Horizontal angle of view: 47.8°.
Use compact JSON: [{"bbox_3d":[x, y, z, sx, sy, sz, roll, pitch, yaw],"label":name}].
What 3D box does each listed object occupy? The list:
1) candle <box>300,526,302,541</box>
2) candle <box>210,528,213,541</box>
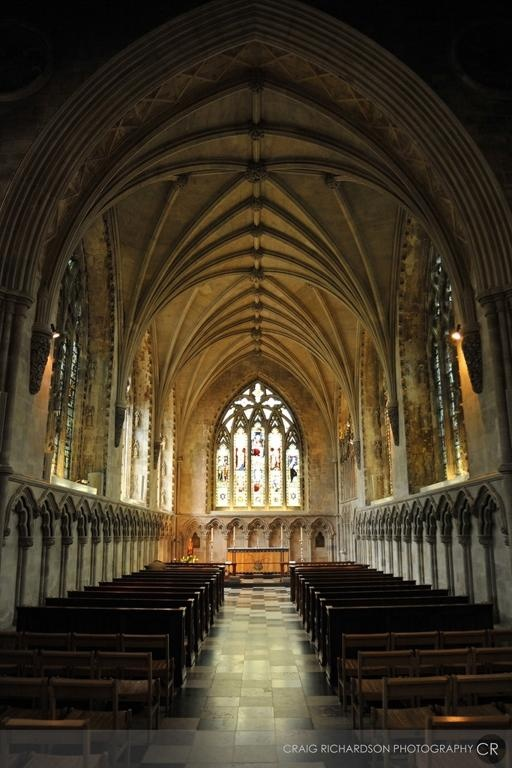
[{"bbox_3d":[2.325,7.520,28.987,0.163,0.725,0.185,-1,-15,2],"label":"candle"},{"bbox_3d":[-2.189,7.487,28.790,0.155,0.611,0.255,-12,-19,35],"label":"candle"}]
